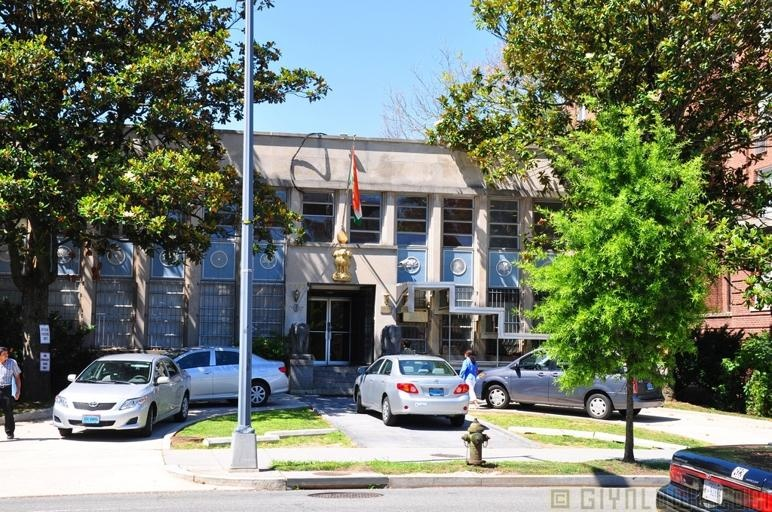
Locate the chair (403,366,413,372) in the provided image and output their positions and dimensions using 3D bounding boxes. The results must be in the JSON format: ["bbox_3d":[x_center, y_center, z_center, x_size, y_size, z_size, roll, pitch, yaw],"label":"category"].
[{"bbox_3d":[0.675,3.657,39.896,0.254,0.149,0.180,2,-14,2],"label":"chair"}]

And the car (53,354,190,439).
[{"bbox_3d":[-8.145,4.405,38.468,2.635,2.252,3.884,5,11,17],"label":"car"}]

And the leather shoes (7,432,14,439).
[{"bbox_3d":[-11.187,5.412,37.096,0.156,0.151,0.139,0,-5,26],"label":"leather shoes"}]

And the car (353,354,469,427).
[{"bbox_3d":[0.650,4.385,40.318,3.854,2.102,1.884,11,14,38],"label":"car"}]
